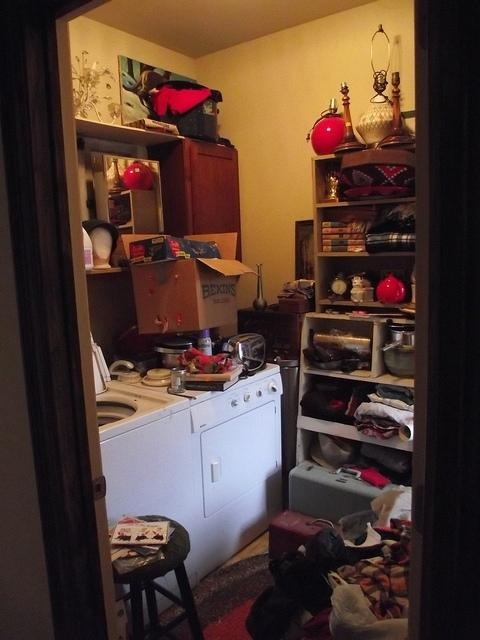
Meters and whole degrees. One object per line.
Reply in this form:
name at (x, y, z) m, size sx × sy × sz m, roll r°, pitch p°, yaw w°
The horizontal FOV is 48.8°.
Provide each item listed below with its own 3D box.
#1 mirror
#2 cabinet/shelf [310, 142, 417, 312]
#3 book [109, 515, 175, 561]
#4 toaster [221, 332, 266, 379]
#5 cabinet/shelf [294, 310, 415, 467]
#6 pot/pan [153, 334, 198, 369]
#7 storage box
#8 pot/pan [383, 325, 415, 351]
mirror at (-0.636, -0.733, 2.923) m, size 0.187 × 0.529 × 0.521 m, roll 2°, pitch 14°, yaw 35°
cabinet/shelf at (0.653, -0.444, 2.733) m, size 0.625 × 0.863 × 0.457 m, roll 2°, pitch 14°, yaw 34°
book at (-0.323, 0.713, 1.754) m, size 0.207 × 0.072 × 0.239 m, roll -9°, pitch 12°, yaw -14°
toaster at (0.036, 0.175, 2.877) m, size 0.260 × 0.243 × 0.199 m, roll -14°, pitch 15°, yaw -31°
cabinet/shelf at (0.590, 0.361, 2.706) m, size 0.848 × 0.803 × 0.286 m, roll 0°, pitch -4°, yaw 37°
pot/pan at (-0.341, 0.146, 2.761) m, size 0.167 × 0.155 × 0.180 m, roll 5°, pitch 11°, yaw 18°
storage box at (-0.245, -0.195, 2.754) m, size 0.553 × 0.500 × 0.519 m, roll -4°, pitch 4°, yaw 28°
pot/pan at (0.758, 0.087, 2.510) m, size 0.111 × 0.070 × 0.195 m, roll 8°, pitch 18°, yaw 41°
